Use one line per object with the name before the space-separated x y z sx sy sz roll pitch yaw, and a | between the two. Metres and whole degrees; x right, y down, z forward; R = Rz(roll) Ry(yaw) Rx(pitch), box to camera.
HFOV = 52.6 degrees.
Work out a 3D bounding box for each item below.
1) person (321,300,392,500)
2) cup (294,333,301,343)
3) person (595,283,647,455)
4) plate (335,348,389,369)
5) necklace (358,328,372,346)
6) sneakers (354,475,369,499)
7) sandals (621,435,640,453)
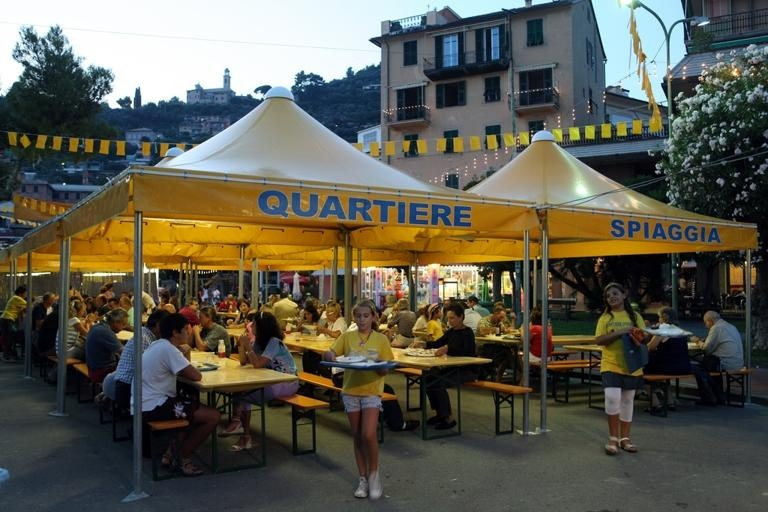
person | -0.377 2.343 13.008 1.015 3.169 0.972 -1 7 -6
cup | -2.006 1.899 18.021 0.155 0.185 0.131 2 -12 -14
person | 4.363 2.062 14.374 0.817 3.017 0.900 4 8 32
plate | -0.343 1.721 12.844 0.931 0.249 0.543 -1 7 -1
necklace | -0.332 1.376 13.133 0.199 0.271 0.078 1 -11 4
sneakers | -0.384 3.785 12.832 0.262 0.334 0.164 2 7 19
sandals | 4.544 3.479 14.360 0.163 0.170 0.437 -1 -11 -10
